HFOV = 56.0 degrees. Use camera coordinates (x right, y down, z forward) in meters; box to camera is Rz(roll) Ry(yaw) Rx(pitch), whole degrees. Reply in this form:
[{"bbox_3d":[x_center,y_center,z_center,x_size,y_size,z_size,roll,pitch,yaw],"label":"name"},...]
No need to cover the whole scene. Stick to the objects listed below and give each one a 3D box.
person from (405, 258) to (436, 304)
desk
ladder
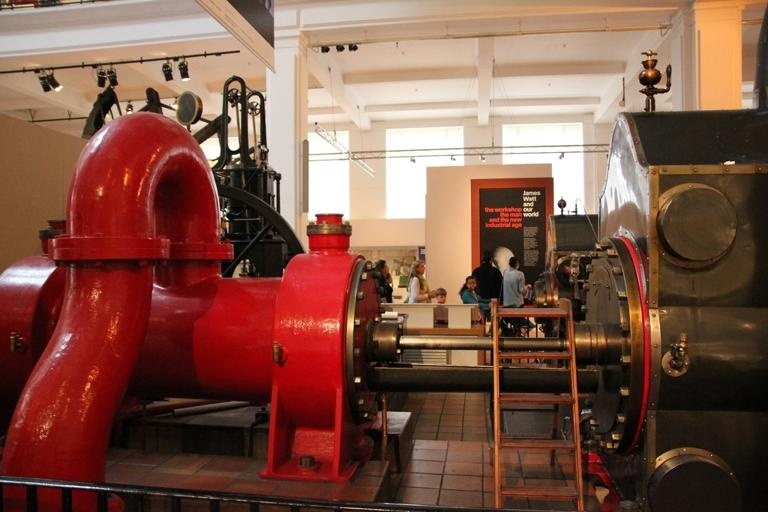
[{"bbox_3d":[0.604,0.431,12.022,0.404,0.680,0.885,0,-1,3],"label":"person"},{"bbox_3d":[0.783,1.087,10.103,1.156,0.836,1.051,0,-1,7],"label":"desk"},{"bbox_3d":[1.335,1.349,6.287,0.598,1.786,1.728,-1,0,9],"label":"ladder"}]
